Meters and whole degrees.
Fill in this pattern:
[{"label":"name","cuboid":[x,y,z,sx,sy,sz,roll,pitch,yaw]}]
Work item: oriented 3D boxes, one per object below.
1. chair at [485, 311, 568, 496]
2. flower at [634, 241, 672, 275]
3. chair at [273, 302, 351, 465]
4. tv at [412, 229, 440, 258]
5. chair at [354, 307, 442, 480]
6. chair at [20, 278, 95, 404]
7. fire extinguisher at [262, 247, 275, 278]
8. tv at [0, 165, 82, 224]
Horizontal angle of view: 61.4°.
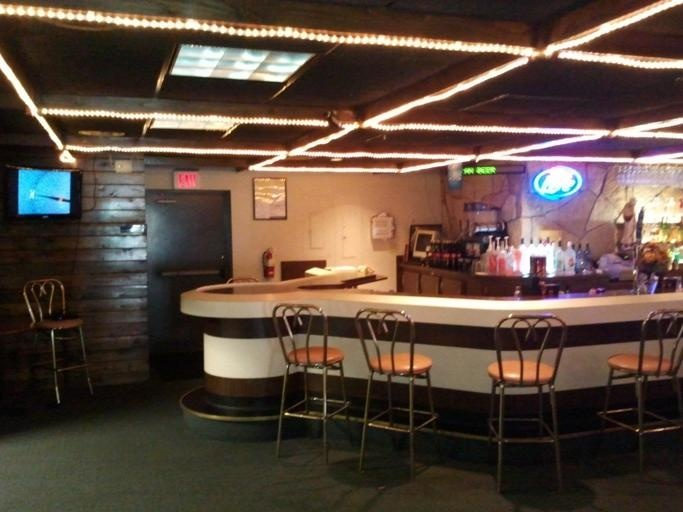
[{"label":"chair","cuboid":[1.579,1.120,4.932,0.639,1.430,1.022,1,9,20]},{"label":"flower","cuboid":[3.938,0.040,7.232,0.336,0.408,0.395,3,10,30]},{"label":"chair","cuboid":[-0.291,1.085,5.521,0.736,1.459,0.933,-3,8,-4]},{"label":"tv","cuboid":[1.411,-0.207,9.451,0.060,0.354,0.403,11,13,-25]},{"label":"chair","cuboid":[0.508,1.091,5.193,0.727,1.461,0.976,-1,8,6]},{"label":"chair","cuboid":[-3.403,0.991,6.939,0.659,1.406,0.731,-7,10,-30]},{"label":"fire extinguisher","cuboid":[-1.115,0.122,8.877,0.205,0.484,0.210,-4,9,-12]},{"label":"tv","cuboid":[-3.683,-0.757,6.965,0.758,0.577,0.095,0,1,-18]}]
